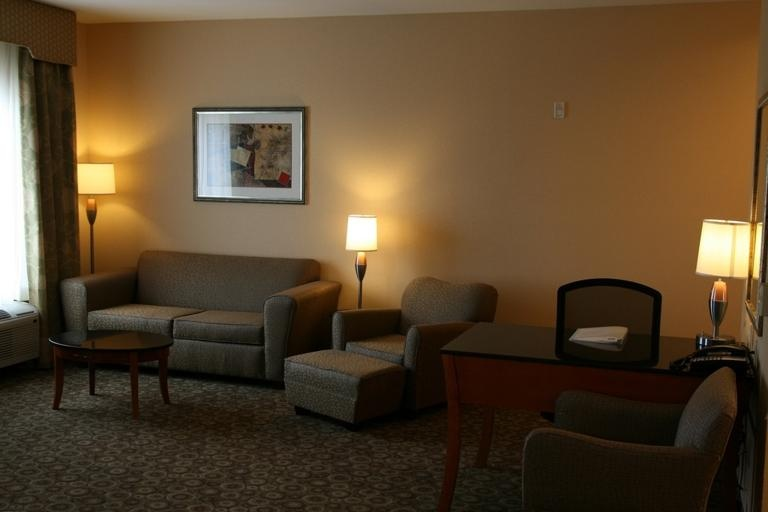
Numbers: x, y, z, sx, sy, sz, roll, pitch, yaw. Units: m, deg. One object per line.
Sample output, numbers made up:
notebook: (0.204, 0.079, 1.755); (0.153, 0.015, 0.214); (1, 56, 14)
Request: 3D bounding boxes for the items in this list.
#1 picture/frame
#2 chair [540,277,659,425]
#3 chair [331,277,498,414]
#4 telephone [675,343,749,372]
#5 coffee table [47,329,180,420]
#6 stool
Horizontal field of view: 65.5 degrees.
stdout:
picture/frame: (-1.373, -1.084, 6.191); (0.989, 0.785, 0.042); (2, 3, 7)
chair: (1.306, 0.411, 3.511); (0.490, 0.702, 0.567); (1, 0, 31)
chair: (0.283, 0.740, 5.317); (1.247, 1.067, 1.124); (1, 2, -39)
telephone: (1.768, 0.535, 3.157); (0.277, 0.082, 0.197); (-6, 5, 16)
coffee table: (-2.236, 0.931, 4.876); (0.964, 0.573, 0.569); (3, 10, 9)
stool: (-0.237, 0.888, 4.675); (0.739, 0.366, 0.539); (7, 8, 43)
